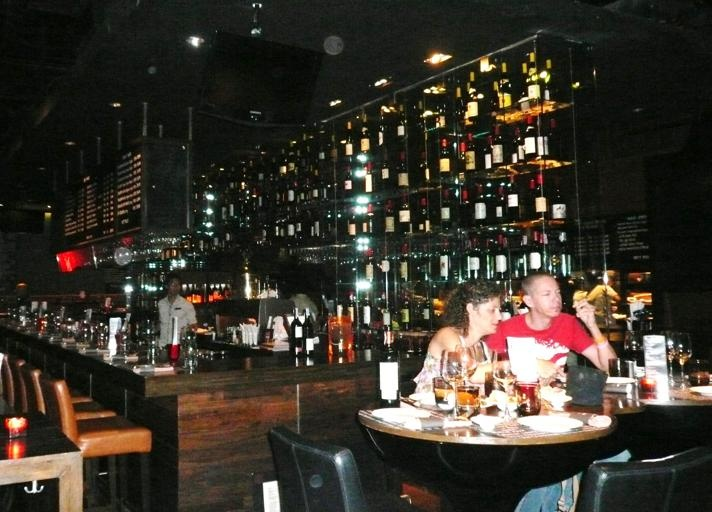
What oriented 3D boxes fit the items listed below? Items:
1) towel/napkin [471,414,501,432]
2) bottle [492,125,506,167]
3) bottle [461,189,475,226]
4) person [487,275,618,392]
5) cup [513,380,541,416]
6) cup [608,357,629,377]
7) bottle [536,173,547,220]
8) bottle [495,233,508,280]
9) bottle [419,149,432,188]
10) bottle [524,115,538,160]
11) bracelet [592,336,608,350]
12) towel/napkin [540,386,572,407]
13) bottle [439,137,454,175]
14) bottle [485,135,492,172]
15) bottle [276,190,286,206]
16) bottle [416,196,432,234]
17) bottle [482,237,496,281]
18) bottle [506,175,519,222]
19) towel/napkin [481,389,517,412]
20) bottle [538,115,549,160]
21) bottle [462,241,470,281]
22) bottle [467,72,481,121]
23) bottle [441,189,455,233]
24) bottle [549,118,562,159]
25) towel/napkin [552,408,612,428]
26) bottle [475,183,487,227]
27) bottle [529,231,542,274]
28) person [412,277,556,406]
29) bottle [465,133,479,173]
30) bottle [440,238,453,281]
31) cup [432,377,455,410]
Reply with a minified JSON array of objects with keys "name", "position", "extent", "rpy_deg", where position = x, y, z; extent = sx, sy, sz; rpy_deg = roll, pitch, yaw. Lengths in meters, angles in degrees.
[{"name":"towel/napkin","position":[0.644,0.834,3.262],"extent":[0.147,0.060,0.229],"rpy_deg":[-3,-8,9]},{"name":"bottle","position":[1.220,-0.960,5.754],"extent":[0.082,0.372,0.136],"rpy_deg":[0,-9,-17]},{"name":"bottle","position":[1.040,-0.458,6.192],"extent":[0.046,0.367,0.177],"rpy_deg":[1,-9,-25]},{"name":"person","position":[1.331,0.520,4.358],"extent":[0.904,1.061,0.392],"rpy_deg":[-1,-9,-15]},{"name":"cup","position":[0.906,0.759,3.472],"extent":[0.171,0.143,0.164],"rpy_deg":[-3,-5,0]},{"name":"cup","position":[1.634,0.697,4.098],"extent":[0.119,0.098,0.120],"rpy_deg":[-1,-4,0]},{"name":"bottle","position":[1.528,-0.495,5.528],"extent":[0.124,0.397,0.113],"rpy_deg":[-6,4,0]},{"name":"bottle","position":[1.273,0.004,5.780],"extent":[0.082,0.389,0.132],"rpy_deg":[-1,-9,-13]},{"name":"bottle","position":[0.688,-0.872,6.521],"extent":[0.065,0.359,0.151],"rpy_deg":[-2,-8,-5]},{"name":"bottle","position":[1.441,-0.986,5.513],"extent":[0.084,0.342,0.150],"rpy_deg":[3,-10,-35]},{"name":"bracelet","position":[1.702,0.608,4.540],"extent":[0.100,0.076,0.088],"rpy_deg":[-12,-11,-14]},{"name":"towel/napkin","position":[1.080,0.769,3.587],"extent":[0.128,0.043,0.113],"rpy_deg":[0,-2,-14]},{"name":"bottle","position":[0.857,-0.960,6.304],"extent":[0.054,0.361,0.170],"rpy_deg":[4,-10,-36]},{"name":"bottle","position":[1.170,-0.878,5.841],"extent":[0.068,0.246,0.208],"rpy_deg":[-4,-8,10]},{"name":"bottle","position":[-0.957,-0.731,8.321],"extent":[0.246,0.177,0.025],"rpy_deg":[2,6,45]},{"name":"bottle","position":[0.652,-0.408,6.725],"extent":[0.116,0.324,0.103],"rpy_deg":[9,9,13]},{"name":"bottle","position":[1.196,0.036,5.931],"extent":[0.088,0.369,0.173],"rpy_deg":[-3,-8,1]},{"name":"bottle","position":[1.338,-0.492,5.679],"extent":[0.133,0.403,0.129],"rpy_deg":[-2,-8,0]},{"name":"towel/napkin","position":[0.758,0.751,3.451],"extent":[0.152,0.053,0.147],"rpy_deg":[4,-8,-35]},{"name":"bottle","position":[1.533,-0.986,5.444],"extent":[0.095,0.344,0.038],"rpy_deg":[-4,-9,12]},{"name":"bottle","position":[1.040,0.045,6.196],"extent":[0.039,0.340,0.114],"rpy_deg":[-1,-9,-12]},{"name":"bottle","position":[1.061,-1.453,5.979],"extent":[0.113,0.392,0.176],"rpy_deg":[-1,-8,-9]},{"name":"bottle","position":[0.892,-0.456,6.346],"extent":[0.045,0.396,0.189],"rpy_deg":[4,-11,-38]},{"name":"bottle","position":[1.638,-0.972,5.436],"extent":[0.107,0.332,0.046],"rpy_deg":[-3,-9,0]},{"name":"towel/napkin","position":[1.144,0.819,3.302],"extent":[0.097,0.009,0.225],"rpy_deg":[-2,-1,-30]},{"name":"bottle","position":[1.136,-0.474,6.032],"extent":[0.125,0.376,0.075],"rpy_deg":[-8,-10,31]},{"name":"bottle","position":[1.498,-0.035,5.529],"extent":[0.125,0.329,0.059],"rpy_deg":[-7,-10,28]},{"name":"person","position":[0.718,0.512,4.197],"extent":[0.971,1.108,0.625],"rpy_deg":[-5,-12,15]},{"name":"bottle","position":[1.052,-0.961,6.063],"extent":[0.112,0.329,0.107],"rpy_deg":[-2,-8,0]},{"name":"bottle","position":[0.860,0.050,6.379],"extent":[0.044,0.369,0.147],"rpy_deg":[5,-11,-41]},{"name":"cup","position":[0.524,0.758,3.638],"extent":[0.191,0.149,0.166],"rpy_deg":[2,-9,-9]}]
